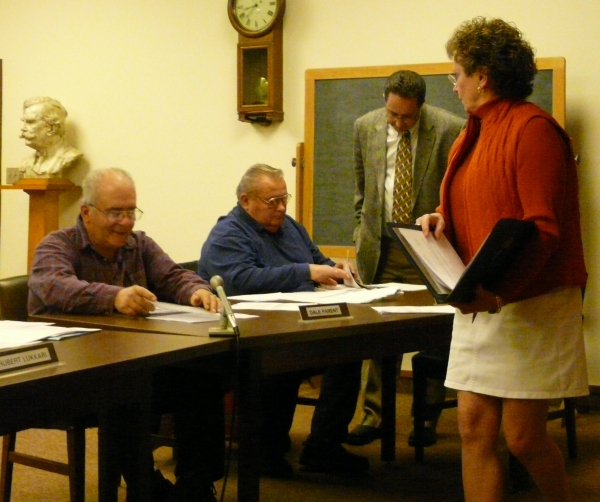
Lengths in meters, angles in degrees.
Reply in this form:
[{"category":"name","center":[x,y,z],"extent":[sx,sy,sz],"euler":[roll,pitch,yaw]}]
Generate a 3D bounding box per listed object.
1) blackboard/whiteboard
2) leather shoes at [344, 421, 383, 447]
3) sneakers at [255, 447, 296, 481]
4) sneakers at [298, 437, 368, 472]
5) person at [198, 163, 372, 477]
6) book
[{"category":"blackboard/whiteboard","center":[0.889,-0.650,3.877],"extent":[2.101,1.536,0.256],"euler":[0,-17,9]},{"category":"leather shoes","center":[0.312,0.947,2.891],"extent":[0.107,0.070,0.198],"euler":[-6,-7,40]},{"category":"sneakers","center":[-0.111,0.986,2.579],"extent":[0.117,0.068,0.186],"euler":[3,1,-3]},{"category":"sneakers","center":[0.156,0.986,2.734],"extent":[0.347,0.169,0.138],"euler":[0,0,3]},{"category":"person","center":[-0.077,0.339,2.911],"extent":[0.802,1.593,0.697],"euler":[-4,0,24]},{"category":"book","center":[0.416,-0.009,1.446],"extent":[0.222,0.194,0.272],"euler":[41,15,34]}]
